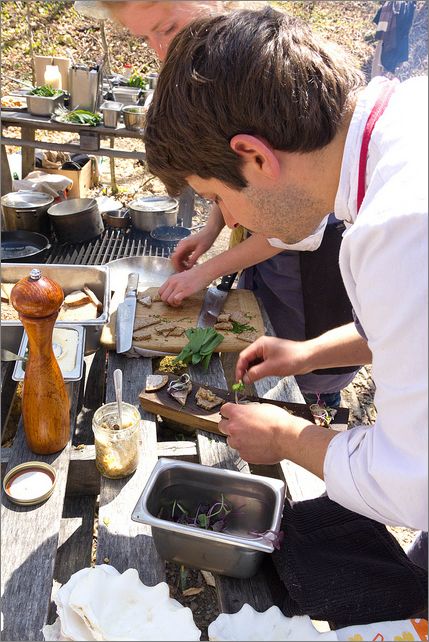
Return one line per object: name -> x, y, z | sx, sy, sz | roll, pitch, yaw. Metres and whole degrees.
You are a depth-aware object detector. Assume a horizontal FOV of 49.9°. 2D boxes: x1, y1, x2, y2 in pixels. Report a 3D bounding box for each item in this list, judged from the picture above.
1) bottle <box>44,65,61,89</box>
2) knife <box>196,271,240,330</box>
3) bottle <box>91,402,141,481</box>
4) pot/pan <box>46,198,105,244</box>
bottle -> -1.627, -2.432, 4.603 | 0.157, 0.200, 0.215 | -5, 31, -19
knife -> -0.001, -0.097, 2.196 | 0.072, 0.040, 0.506 | 12, 26, 5
bottle -> -0.274, 0.332, 1.288 | 0.126, 0.178, 0.148 | 1, 29, -9
pot/pan -> -1.031, -0.730, 3.428 | 0.379, 0.233, 0.363 | 23, 47, 29
